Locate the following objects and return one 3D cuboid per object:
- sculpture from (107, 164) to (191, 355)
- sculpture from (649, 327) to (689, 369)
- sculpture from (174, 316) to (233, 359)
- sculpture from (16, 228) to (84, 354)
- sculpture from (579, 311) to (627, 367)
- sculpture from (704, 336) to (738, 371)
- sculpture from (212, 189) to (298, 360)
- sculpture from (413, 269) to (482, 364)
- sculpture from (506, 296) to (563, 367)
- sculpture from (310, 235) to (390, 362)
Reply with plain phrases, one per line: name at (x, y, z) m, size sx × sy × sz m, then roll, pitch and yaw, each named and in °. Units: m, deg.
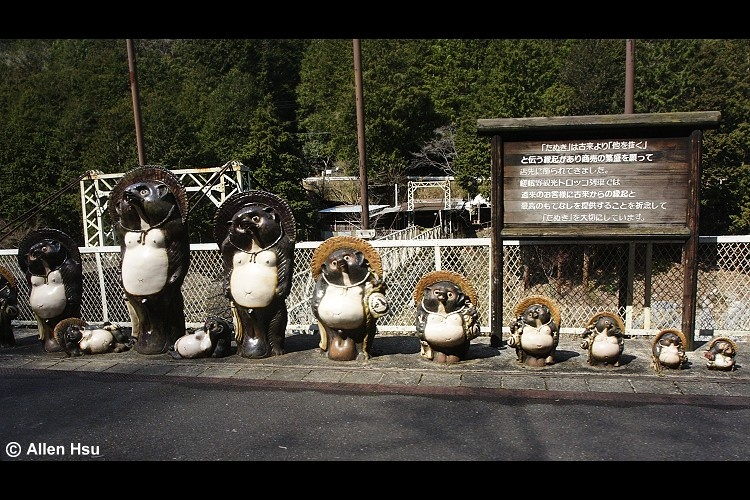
sculpture at (-4.112, 0.210, 12.984) m, size 1.297 × 3.510 × 0.550 m, roll 1°, pitch 4°, yaw -13°
sculpture at (5.126, 1.739, 12.285) m, size 0.634 × 0.664 × 0.446 m, roll 4°, pitch -2°, yaw 1°
sculpture at (-3.138, 1.624, 13.168) m, size 1.163 × 0.610 × 0.758 m, roll 3°, pitch 11°, yaw -28°
sculpture at (-6.262, 0.747, 13.705) m, size 1.137 × 2.177 × 1.057 m, roll -2°, pitch -12°, yaw -36°
sculpture at (3.980, 1.548, 12.250) m, size 0.676 × 0.944 × 0.229 m, roll 2°, pitch 4°, yaw 9°
sculpture at (6.029, 1.818, 12.237) m, size 0.565 × 0.548 × 0.359 m, roll 1°, pitch -17°, yaw 10°
sculpture at (-2.126, 0.468, 12.734) m, size 1.307 × 3.016 × 0.436 m, roll 1°, pitch 4°, yaw -11°
sculpture at (1.274, 1.191, 12.516) m, size 1.149 × 1.654 × 0.421 m, roll 1°, pitch 4°, yaw 2°
sculpture at (2.801, 1.416, 12.337) m, size 0.857 × 1.248 × 0.305 m, roll 2°, pitch 4°, yaw 9°
sculpture at (-0.466, 0.880, 12.628) m, size 1.353 × 2.242 × 0.529 m, roll 1°, pitch 4°, yaw -4°
